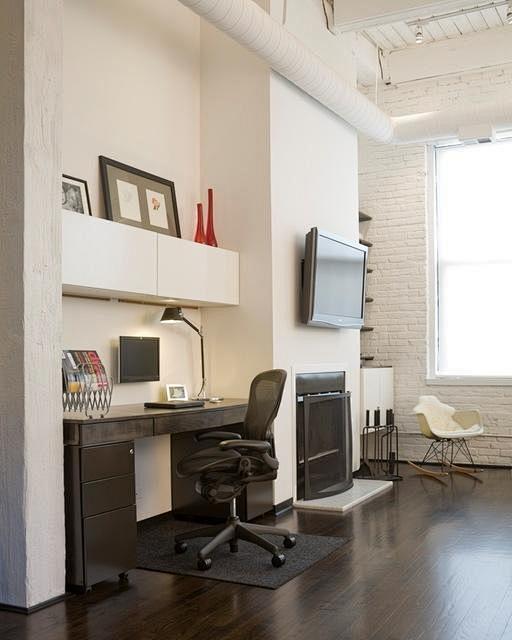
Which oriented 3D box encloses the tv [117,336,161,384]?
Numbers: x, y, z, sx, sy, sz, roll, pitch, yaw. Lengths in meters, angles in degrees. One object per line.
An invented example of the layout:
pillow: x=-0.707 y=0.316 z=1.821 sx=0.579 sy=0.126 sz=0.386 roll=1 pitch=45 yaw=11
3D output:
tv: x=-0.753 y=0.248 z=3.319 sx=0.029 sy=0.287 sz=0.335 roll=-6 pitch=-7 yaw=35

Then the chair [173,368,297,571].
chair: x=-0.091 y=0.747 z=2.757 sx=0.569 sy=0.969 sz=0.606 roll=-5 pitch=-11 yaw=42

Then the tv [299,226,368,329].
tv: x=0.759 y=-0.335 z=4.531 sx=0.154 sy=0.778 sz=0.980 roll=-2 pitch=11 yaw=-18

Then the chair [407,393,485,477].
chair: x=1.918 y=1.174 z=5.264 sx=0.591 sy=0.804 sz=0.555 roll=1 pitch=-5 yaw=-22

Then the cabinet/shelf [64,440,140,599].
cabinet/shelf: x=-0.735 y=0.887 z=2.372 sx=0.358 sy=0.582 sz=0.355 roll=0 pitch=-8 yaw=-26
